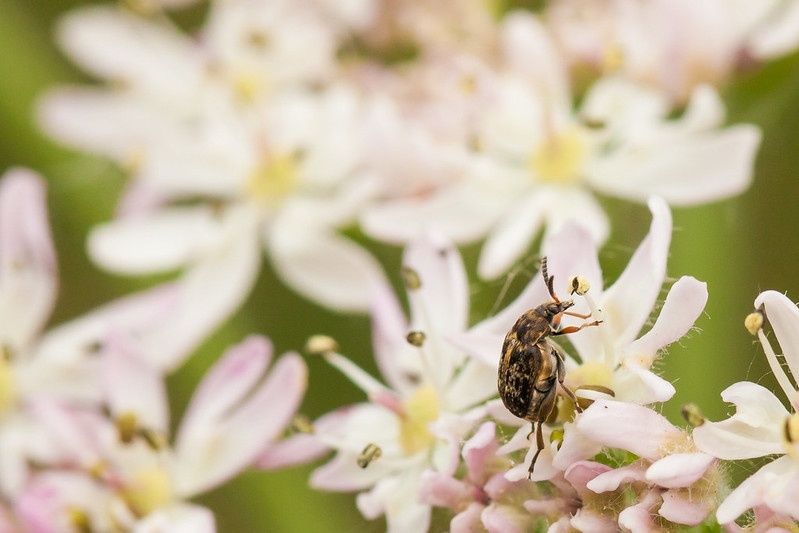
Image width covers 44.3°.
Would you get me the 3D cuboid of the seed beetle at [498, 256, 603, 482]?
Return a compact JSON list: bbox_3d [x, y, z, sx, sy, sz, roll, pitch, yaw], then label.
[{"bbox_3d":[0.134,0.082,0.885,0.121,0.112,0.077,-27,-20,-2],"label":"seed beetle"}]
